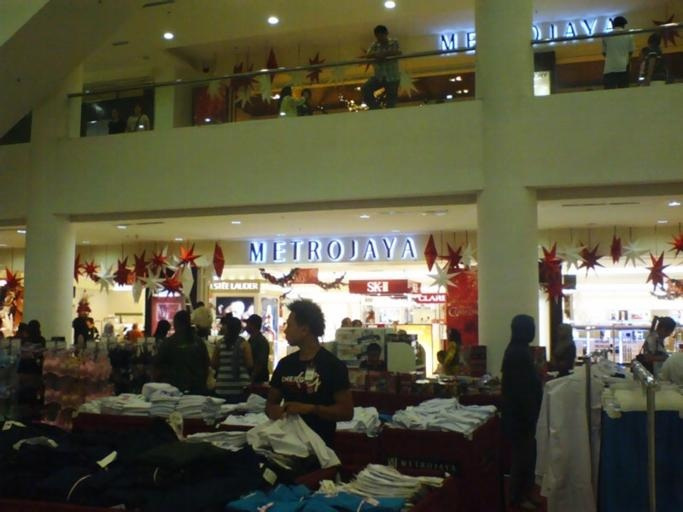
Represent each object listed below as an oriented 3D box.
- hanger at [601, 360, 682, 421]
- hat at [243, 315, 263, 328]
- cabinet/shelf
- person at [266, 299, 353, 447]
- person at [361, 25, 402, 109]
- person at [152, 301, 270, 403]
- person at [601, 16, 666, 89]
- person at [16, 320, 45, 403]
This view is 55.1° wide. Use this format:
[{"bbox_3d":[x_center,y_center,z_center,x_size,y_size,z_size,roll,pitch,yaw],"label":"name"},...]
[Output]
[{"bbox_3d":[1.944,0.911,4.231,0.491,0.233,0.790,-1,-5,22],"label":"hanger"},{"bbox_3d":[-1.123,0.847,8.220,0.193,0.119,0.144,24,13,30],"label":"hat"},{"bbox_3d":[0.442,1.123,8.025,0.801,0.441,0.851,1,-3,7],"label":"cabinet/shelf"},{"bbox_3d":[-0.241,0.883,4.938,0.653,1.109,0.412,1,-5,0],"label":"person"},{"bbox_3d":[0.563,-2.678,9.154,0.440,1.209,0.491,3,-5,-26],"label":"person"},{"bbox_3d":[-1.729,1.255,8.466,1.159,1.536,0.566,3,-4,-24],"label":"person"},{"bbox_3d":[3.716,-2.654,8.430,0.693,1.068,0.451,0,-5,12],"label":"person"},{"bbox_3d":[-4.318,1.467,9.132,0.312,1.097,1.040,3,-5,-25],"label":"person"}]
